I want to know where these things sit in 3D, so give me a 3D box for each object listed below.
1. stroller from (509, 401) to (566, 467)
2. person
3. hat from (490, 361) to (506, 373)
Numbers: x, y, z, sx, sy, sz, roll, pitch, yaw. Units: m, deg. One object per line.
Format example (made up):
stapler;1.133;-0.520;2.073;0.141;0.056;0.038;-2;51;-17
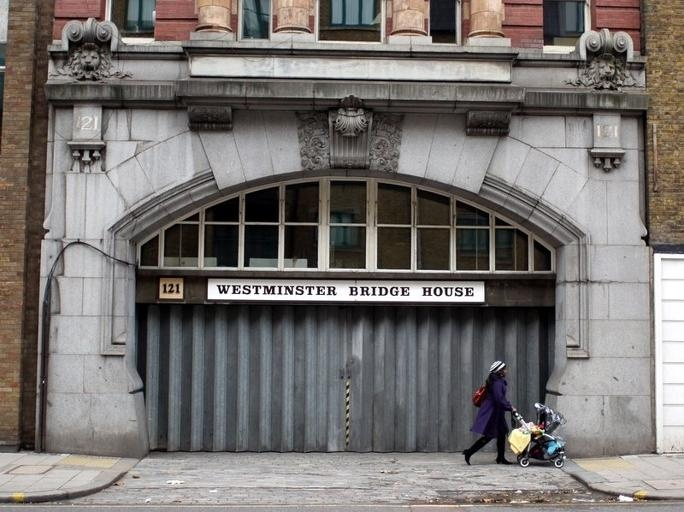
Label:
stroller;3.971;3.643;29.406;1.310;1.292;0.865;0;-6;-18
person;3.049;3.192;29.496;1.055;2.088;0.612;-3;-6;18
hat;3.158;2.305;29.701;0.266;0.136;0.350;-34;9;-40
